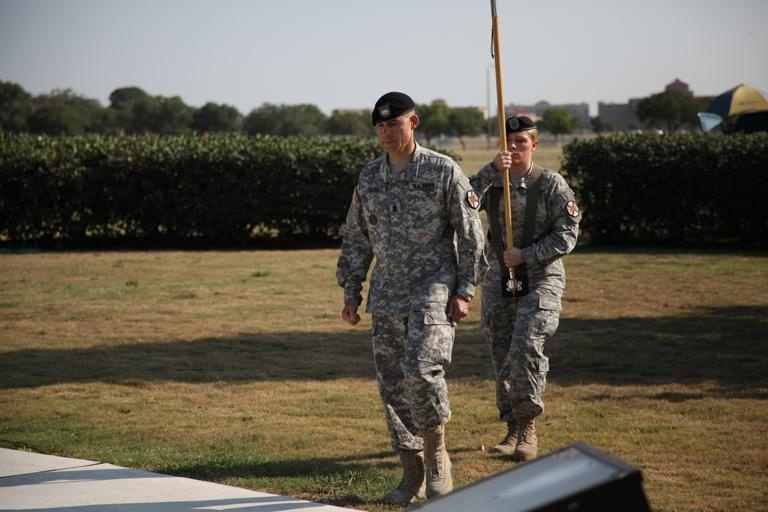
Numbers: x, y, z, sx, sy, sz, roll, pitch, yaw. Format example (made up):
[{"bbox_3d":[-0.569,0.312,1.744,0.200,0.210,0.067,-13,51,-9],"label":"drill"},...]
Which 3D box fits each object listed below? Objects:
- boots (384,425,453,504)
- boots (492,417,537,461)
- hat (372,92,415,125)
[{"bbox_3d":[0.360,1.910,12.573,0.588,0.738,0.392,1,6,24],"label":"boots"},{"bbox_3d":[1.276,1.757,13.253,0.443,0.372,0.417,-1,6,6],"label":"boots"},{"bbox_3d":[0.018,-1.368,12.696,0.332,0.212,0.433,-13,-1,13],"label":"hat"}]
